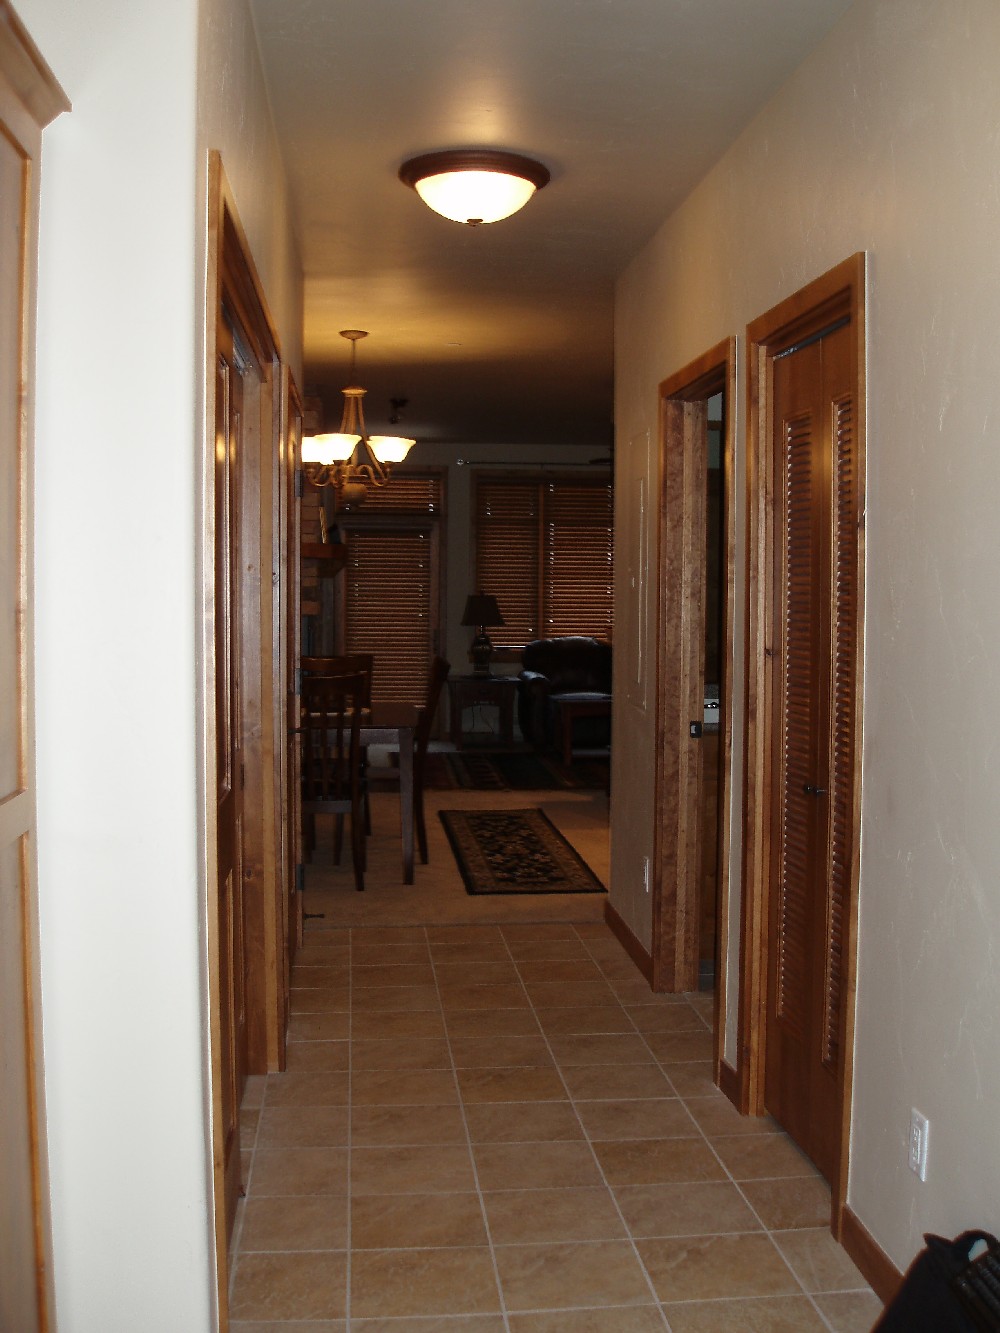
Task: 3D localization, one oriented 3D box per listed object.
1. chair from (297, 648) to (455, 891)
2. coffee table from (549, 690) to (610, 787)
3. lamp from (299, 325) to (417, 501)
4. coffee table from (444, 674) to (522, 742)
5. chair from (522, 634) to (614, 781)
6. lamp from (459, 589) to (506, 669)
[{"bbox_3d":[-0.706,0.529,5.719,0.785,1.183,2.124,0,6,-8],"label":"chair"},{"bbox_3d":[0.862,0.576,9.147,0.445,0.642,0.913,1,3,8],"label":"coffee table"},{"bbox_3d":[-0.956,-1.602,6.410,0.755,1.161,0.834,2,-1,-20],"label":"lamp"},{"bbox_3d":[-0.156,0.424,9.934,0.702,0.703,0.619,1,5,0],"label":"coffee table"},{"bbox_3d":[0.734,0.291,9.435,0.932,1.328,1.289,1,1,-11],"label":"chair"},{"bbox_3d":[-0.180,-0.363,9.970,0.359,0.797,0.530,0,5,-2],"label":"lamp"}]
